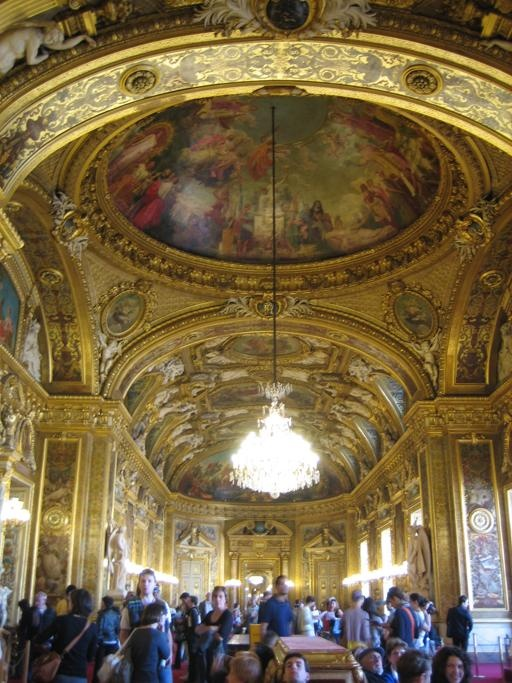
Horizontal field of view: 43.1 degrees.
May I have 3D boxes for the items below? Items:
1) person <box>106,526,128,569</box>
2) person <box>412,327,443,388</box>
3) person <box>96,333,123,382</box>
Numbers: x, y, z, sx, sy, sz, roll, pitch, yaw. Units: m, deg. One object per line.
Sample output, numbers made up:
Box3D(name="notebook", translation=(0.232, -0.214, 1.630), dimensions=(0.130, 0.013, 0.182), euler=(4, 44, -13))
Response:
Box3D(name="person", translation=(-3.049, 4.473, 14.261), dimensions=(0.363, 0.876, 0.692), euler=(2, -24, -2))
Box3D(name="person", translation=(3.864, 0.439, 14.518), dimensions=(0.473, 1.121, 0.674), euler=(-2, -24, 6))
Box3D(name="person", translation=(-3.283, 0.337, 14.457), dimensions=(0.428, 0.917, 0.763), euler=(2, -24, -4))
